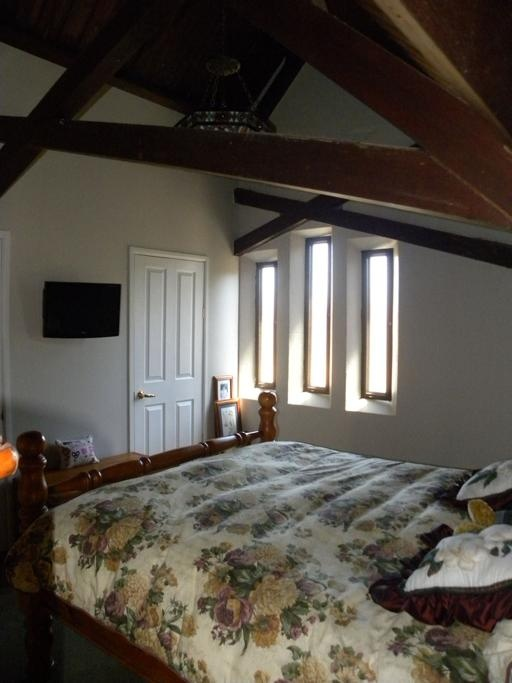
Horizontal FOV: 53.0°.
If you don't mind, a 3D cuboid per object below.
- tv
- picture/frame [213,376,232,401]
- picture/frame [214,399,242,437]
[{"bbox_3d":[-1.266,-0.214,3.761,0.567,0.438,0.063,0,-6,-31],"label":"tv"},{"bbox_3d":[-0.345,0.456,4.981,0.025,0.248,0.228,-4,-5,31],"label":"picture/frame"},{"bbox_3d":[-0.294,0.726,4.866,0.029,0.427,0.394,-7,-9,33],"label":"picture/frame"}]
